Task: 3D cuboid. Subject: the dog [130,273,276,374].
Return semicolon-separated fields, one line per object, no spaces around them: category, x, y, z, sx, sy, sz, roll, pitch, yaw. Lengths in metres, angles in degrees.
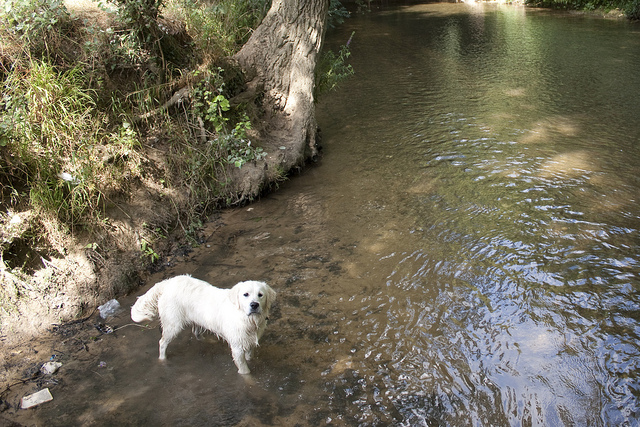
dog;-1.979;1.820;8.975;2.618;1.600;1.067;6;10;21
